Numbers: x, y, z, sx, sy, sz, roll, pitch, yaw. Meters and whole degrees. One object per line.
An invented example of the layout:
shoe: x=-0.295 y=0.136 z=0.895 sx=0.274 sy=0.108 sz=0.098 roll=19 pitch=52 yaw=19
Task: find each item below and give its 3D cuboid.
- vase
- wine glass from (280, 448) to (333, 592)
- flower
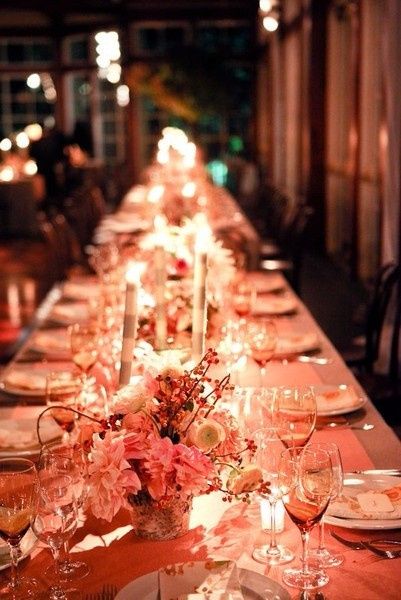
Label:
vase: x=-0.066 y=0.328 z=0.777 sx=0.091 sy=0.072 sz=0.102 roll=1 pitch=-6 yaw=-12
wine glass: x=0.143 y=0.298 z=0.695 sx=0.078 sy=0.213 sz=0.089 roll=6 pitch=24 yaw=21
flower: x=-0.072 y=0.198 z=0.803 sx=0.321 sy=0.254 sz=0.272 roll=6 pitch=9 yaw=26
